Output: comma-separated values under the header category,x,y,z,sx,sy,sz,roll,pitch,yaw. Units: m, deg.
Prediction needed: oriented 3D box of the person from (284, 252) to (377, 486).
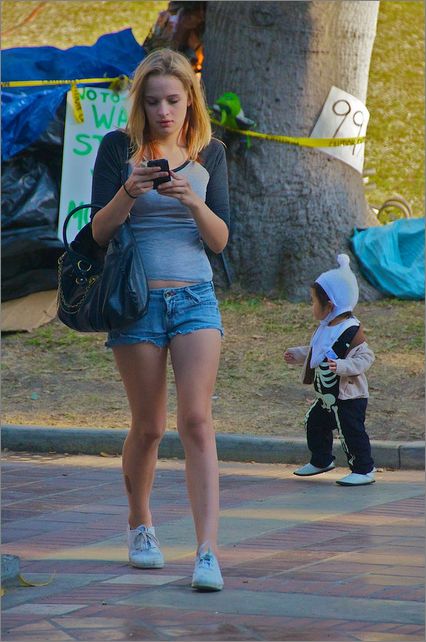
category,x,y,z,sx,sy,sz,roll,pitch,yaw
person,0.691,0.374,5.452,0.508,1.238,0.844,2,23,0

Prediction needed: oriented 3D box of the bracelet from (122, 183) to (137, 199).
category,x,y,z,sx,sy,sz,roll,pitch,yaw
bracelet,-0.302,-0.462,3.379,0.013,0.048,0.053,-25,9,14

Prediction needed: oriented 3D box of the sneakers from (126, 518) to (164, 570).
category,x,y,z,sx,sy,sz,roll,pitch,yaw
sneakers,-0.270,0.903,3.677,0.096,0.081,0.231,-2,5,-17

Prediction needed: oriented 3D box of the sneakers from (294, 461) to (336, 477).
category,x,y,z,sx,sy,sz,roll,pitch,yaw
sneakers,0.618,0.882,5.589,0.247,0.064,0.087,-4,-4,-12

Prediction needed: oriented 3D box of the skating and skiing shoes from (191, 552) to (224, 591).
category,x,y,z,sx,sy,sz,roll,pitch,yaw
skating and skiing shoes,-0.022,0.900,3.316,0.079,0.071,0.189,1,-1,2

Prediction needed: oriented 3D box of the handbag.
category,x,y,z,sx,sy,sz,roll,pitch,yaw
handbag,-0.431,-0.151,3.568,0.250,0.444,0.523,-8,24,-23

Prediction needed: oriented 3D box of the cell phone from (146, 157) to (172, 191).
category,x,y,z,sx,sy,sz,roll,pitch,yaw
cell phone,-0.190,-0.517,3.325,0.085,0.111,0.045,2,24,1
